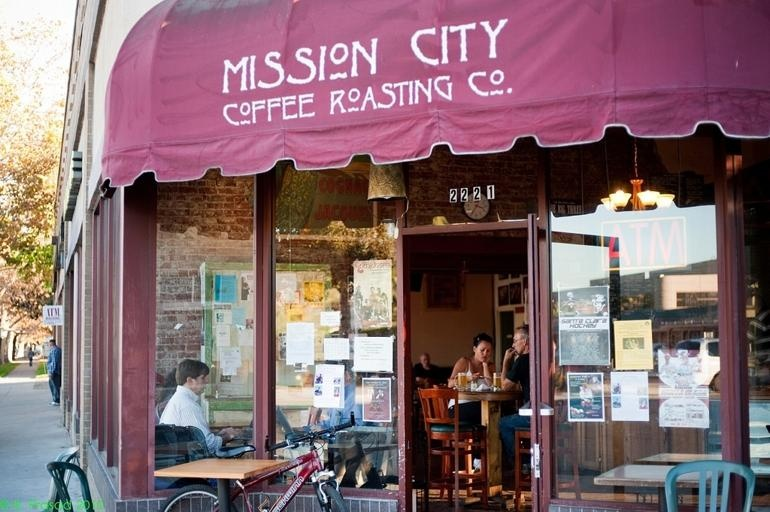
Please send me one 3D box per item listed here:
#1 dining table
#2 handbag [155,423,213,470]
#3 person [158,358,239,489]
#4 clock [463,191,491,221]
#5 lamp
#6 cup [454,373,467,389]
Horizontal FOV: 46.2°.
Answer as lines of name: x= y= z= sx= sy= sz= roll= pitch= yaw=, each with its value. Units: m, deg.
dining table: x=1.491 y=2.626 z=12.740 sx=0.997 sy=1.534 sz=1.117 roll=2 pitch=-3 yaw=-15
handbag: x=-2.415 y=2.220 z=10.632 sx=0.579 sy=0.641 sz=0.484 roll=-3 pitch=0 yaw=-9
person: x=-2.248 y=2.058 z=10.998 sx=0.766 sy=1.731 sz=0.802 roll=-2 pitch=14 yaw=-18
clock: x=1.021 y=-0.542 z=9.991 sx=0.256 sy=0.303 sz=0.271 roll=4 pitch=-6 yaw=-24
lamp: x=2.723 y=-0.840 z=9.738 sx=0.589 sy=0.755 sz=0.649 roll=-1 pitch=5 yaw=2
cup: x=1.162 y=1.830 z=13.340 sx=0.208 sy=0.207 sz=0.136 roll=-5 pitch=-9 yaw=38
